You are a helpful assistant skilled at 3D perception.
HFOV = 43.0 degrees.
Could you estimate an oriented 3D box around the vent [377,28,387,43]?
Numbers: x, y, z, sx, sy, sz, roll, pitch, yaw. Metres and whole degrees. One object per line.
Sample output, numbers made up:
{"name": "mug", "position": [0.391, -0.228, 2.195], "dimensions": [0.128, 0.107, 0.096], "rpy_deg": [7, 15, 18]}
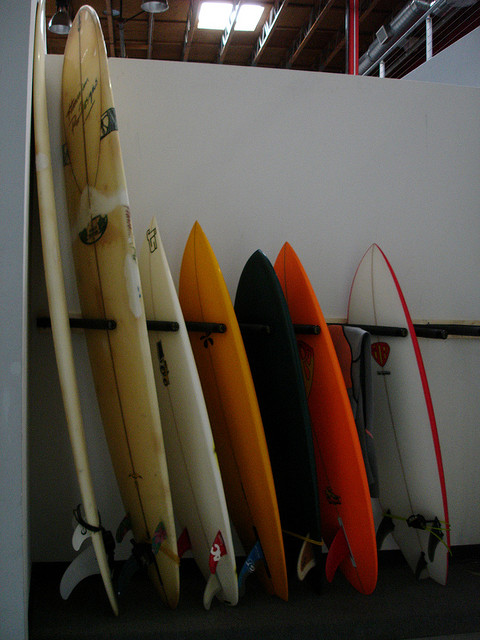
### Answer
{"name": "vent", "position": [1.054, -2.112, 4.540], "dimensions": [0.011, 0.070, 0.055], "rpy_deg": [-2, -33, -13]}

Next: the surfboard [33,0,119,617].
{"name": "surfboard", "position": [-0.442, 0.006, 1.611], "dimensions": [0.161, 1.903, 0.131], "rpy_deg": [-3, -2, -31]}

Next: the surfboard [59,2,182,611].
{"name": "surfboard", "position": [-0.349, 0.028, 1.735], "dimensions": [0.128, 1.802, 0.136], "rpy_deg": [-7, 3, -22]}

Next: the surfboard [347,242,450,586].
{"name": "surfboard", "position": [0.505, 0.333, 1.879], "dimensions": [0.095, 1.406, 0.227], "rpy_deg": [-2, -3, -25]}
